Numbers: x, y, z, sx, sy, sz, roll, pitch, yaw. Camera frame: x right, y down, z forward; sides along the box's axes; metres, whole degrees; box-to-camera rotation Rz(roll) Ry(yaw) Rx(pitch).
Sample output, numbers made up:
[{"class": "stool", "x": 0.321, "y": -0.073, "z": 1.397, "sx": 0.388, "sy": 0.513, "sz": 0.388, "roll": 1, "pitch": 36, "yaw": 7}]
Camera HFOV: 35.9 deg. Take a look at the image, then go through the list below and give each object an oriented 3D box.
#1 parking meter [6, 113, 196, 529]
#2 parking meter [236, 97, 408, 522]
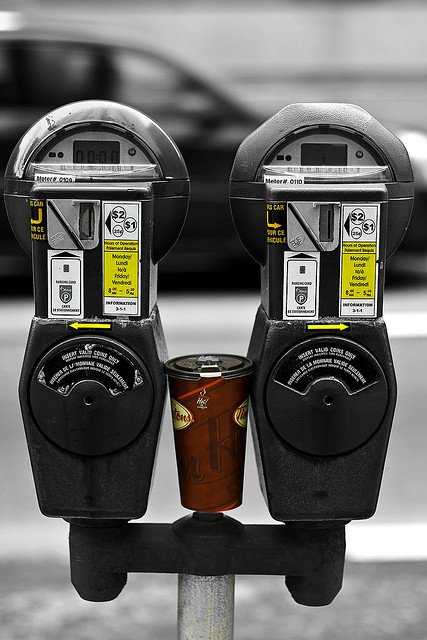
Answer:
[{"class": "parking meter", "x": -0.139, "y": 0.021, "z": 1.268, "sx": 0.450, "sy": 0.720, "sz": 0.477, "roll": -2, "pitch": 3, "yaw": -7}, {"class": "parking meter", "x": 0.193, "y": -0.008, "z": 1.169, "sx": 0.267, "sy": 0.738, "sz": 0.303, "roll": 0, "pitch": 11, "yaw": 4}]
